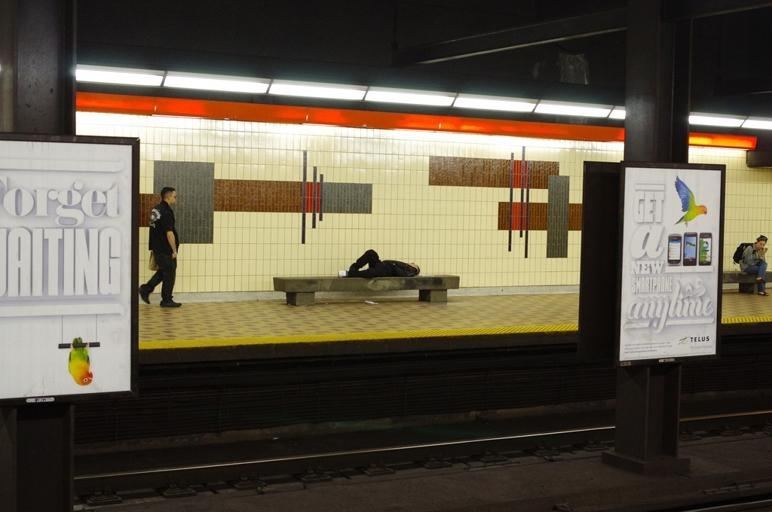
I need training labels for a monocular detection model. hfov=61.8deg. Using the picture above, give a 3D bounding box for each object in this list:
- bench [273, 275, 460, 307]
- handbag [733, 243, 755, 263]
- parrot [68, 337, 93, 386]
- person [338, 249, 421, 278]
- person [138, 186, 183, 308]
[{"bbox_3d":[-0.339,0.653,12.342,3.496,0.595,0.529,0,13,-21],"label":"bench"},{"bbox_3d":[8.493,-0.087,15.435,0.565,0.533,0.401,-2,7,4],"label":"handbag"},{"bbox_3d":[-2.080,0.718,4.392,0.144,0.323,0.062,0,13,-24],"label":"parrot"},{"bbox_3d":[-0.084,0.177,12.486,1.172,0.400,0.617,3,-3,-13],"label":"person"},{"bbox_3d":[-3.835,-0.122,11.003,0.642,2.123,0.645,0,13,-23],"label":"person"}]
